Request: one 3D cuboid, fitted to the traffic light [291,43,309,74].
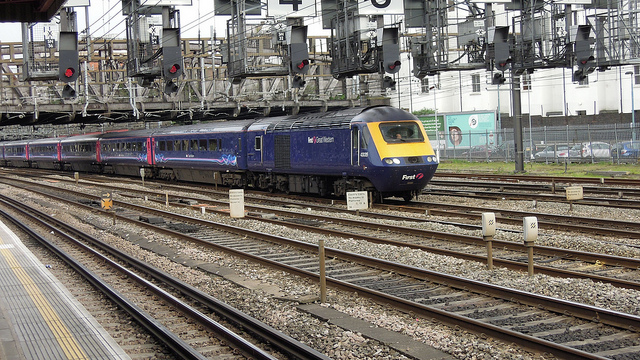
[{"bbox_3d":[-1.226,-7.820,34.402,0.951,1.868,1.352,-7,9,-26],"label":"traffic light"}]

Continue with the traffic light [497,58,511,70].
[{"bbox_3d":[12.122,-7.577,35.261,0.988,0.607,0.272,-6,9,-29],"label":"traffic light"}]

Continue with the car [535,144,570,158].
[{"bbox_3d":[21.047,-2.539,47.952,1.953,1.104,3.472,-3,7,-6],"label":"car"}]

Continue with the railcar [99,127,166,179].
[{"bbox_3d":[-18.630,-2.473,49.834,2.040,3.351,11.170,0,3,10],"label":"railcar"}]

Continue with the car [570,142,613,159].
[{"bbox_3d":[23.454,-2.550,46.039,2.535,1.065,1.468,-6,7,-31],"label":"car"}]

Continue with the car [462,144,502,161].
[{"bbox_3d":[16.877,-2.842,55.177,3.078,1.254,1.714,4,6,24],"label":"car"}]

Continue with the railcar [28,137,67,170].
[{"bbox_3d":[-35.703,-3.414,68.656,9.792,3.055,1.998,1,-19,44],"label":"railcar"}]

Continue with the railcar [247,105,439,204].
[{"bbox_3d":[0.109,-1.615,31.698,3.721,4.609,15.359,-3,5,-35],"label":"railcar"}]

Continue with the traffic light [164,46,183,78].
[{"bbox_3d":[-8.465,-6.578,29.663,1.165,1.679,1.037,11,13,27],"label":"traffic light"}]

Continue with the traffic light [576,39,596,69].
[{"bbox_3d":[17.478,-8.270,35.350,1.006,1.756,0.475,0,8,17],"label":"traffic light"}]

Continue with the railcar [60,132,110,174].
[{"bbox_3d":[-25.459,-2.907,59.044,2.450,3.786,11.697,-2,4,-44],"label":"railcar"}]

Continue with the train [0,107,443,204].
[{"bbox_3d":[-22.967,-2.862,53.422,5.541,6.100,79.010,-10,10,-44],"label":"train"}]

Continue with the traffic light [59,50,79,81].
[{"bbox_3d":[-12.163,-5.515,25.813,0.882,1.401,0.636,-4,8,-12],"label":"traffic light"}]

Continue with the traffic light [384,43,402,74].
[{"bbox_3d":[4.556,-7.712,33.952,0.964,1.879,1.053,-2,8,6],"label":"traffic light"}]

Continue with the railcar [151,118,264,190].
[{"bbox_3d":[-9.457,-1.973,40.118,10.812,2.984,2.284,2,-2,34],"label":"railcar"}]
